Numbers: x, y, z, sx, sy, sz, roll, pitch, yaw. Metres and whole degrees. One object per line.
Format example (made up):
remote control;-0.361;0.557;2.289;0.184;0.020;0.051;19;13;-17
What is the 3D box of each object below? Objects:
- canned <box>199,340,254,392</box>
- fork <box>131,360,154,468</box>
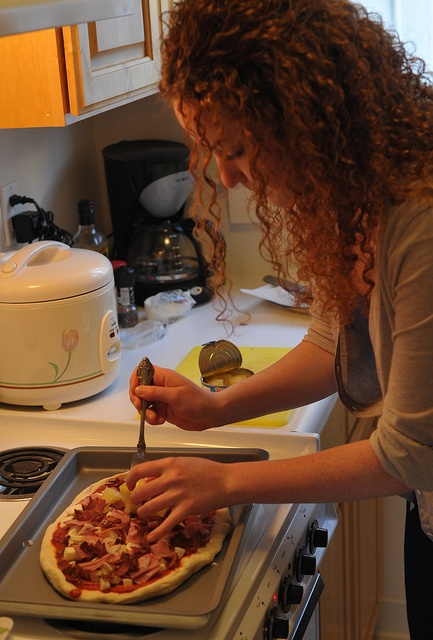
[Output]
canned;0.023;0.091;1.198;0.123;0.102;0.109;-13;25;-34
fork;-0.114;0.135;0.833;0.035;0.162;0.023;4;-8;-18
